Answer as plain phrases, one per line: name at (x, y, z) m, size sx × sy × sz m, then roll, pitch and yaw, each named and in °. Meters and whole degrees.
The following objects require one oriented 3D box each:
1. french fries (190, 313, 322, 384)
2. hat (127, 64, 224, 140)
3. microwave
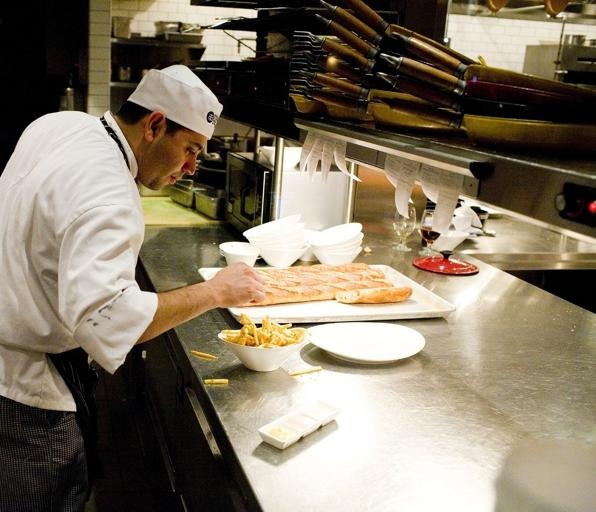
french fries at (-0.118, 0.293, 1.500) m, size 0.323 × 0.132 × 0.304 m, roll 3°, pitch 3°, yaw -22°
hat at (-0.352, -0.474, 1.505) m, size 0.305 × 0.176 × 0.202 m, roll 23°, pitch 14°, yaw -10°
microwave at (-0.081, -0.425, 3.074) m, size 0.643 × 0.483 × 0.812 m, roll -1°, pitch 18°, yaw -17°
